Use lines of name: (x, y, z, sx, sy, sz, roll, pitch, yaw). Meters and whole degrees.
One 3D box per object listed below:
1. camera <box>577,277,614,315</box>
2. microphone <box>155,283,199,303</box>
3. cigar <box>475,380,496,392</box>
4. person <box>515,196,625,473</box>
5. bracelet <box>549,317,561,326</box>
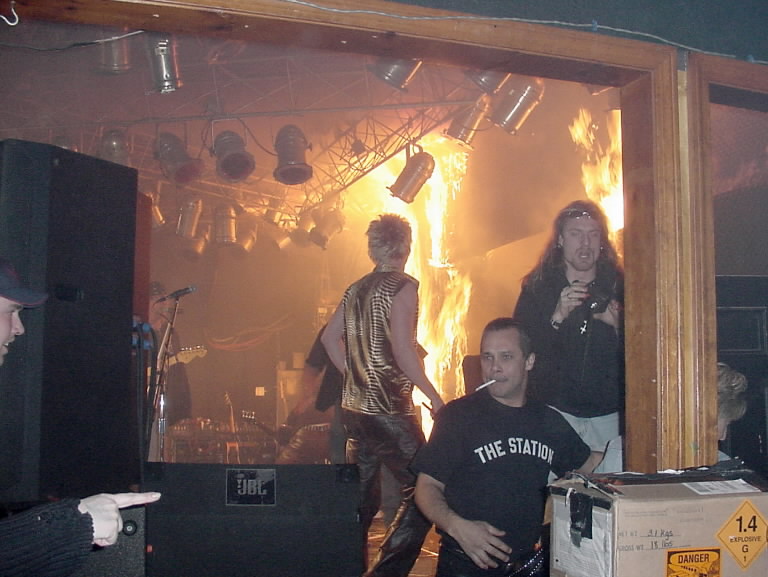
camera: (1.141, 0.042, 5.267, 0.128, 0.180, 0.063, 7, -27, 21)
microphone: (-1.865, 0.031, 8.829, 0.333, 0.087, 0.103, -20, -32, 14)
cigar: (0.471, 0.479, 4.848, 0.026, 0.040, 0.167, 25, -27, -35)
person: (1.055, 0.478, 5.303, 0.563, 1.794, 0.570, 0, 3, 16)
bracelet: (0.914, 0.183, 5.301, 0.028, 0.051, 0.017, 12, 11, 33)
